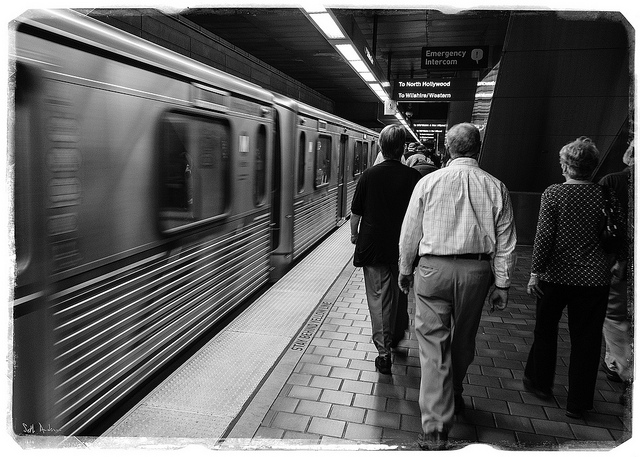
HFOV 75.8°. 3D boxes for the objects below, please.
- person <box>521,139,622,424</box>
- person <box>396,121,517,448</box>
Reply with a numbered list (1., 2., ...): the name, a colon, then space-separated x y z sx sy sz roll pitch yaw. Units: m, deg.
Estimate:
1. person: 2.034 0.422 3.328 0.580 2.191 0.403 10 14 33
2. person: 1.031 0.398 3.075 0.755 2.334 0.769 -1 12 -15
